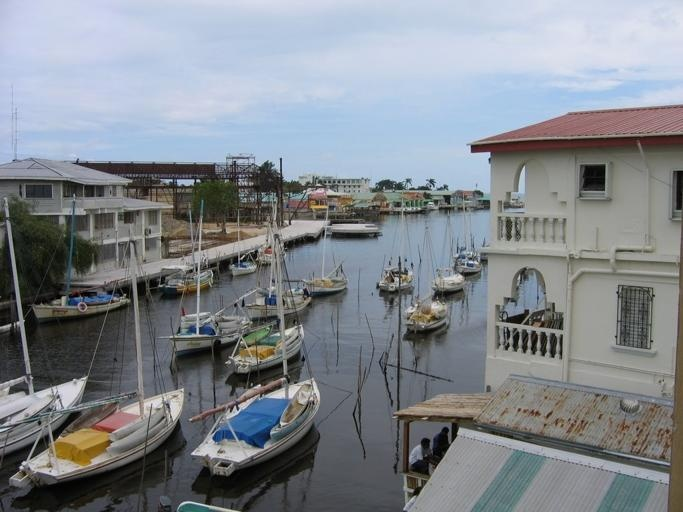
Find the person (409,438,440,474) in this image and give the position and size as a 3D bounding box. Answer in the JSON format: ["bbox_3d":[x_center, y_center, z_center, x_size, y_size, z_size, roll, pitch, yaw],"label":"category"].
[{"bbox_3d":[2.378,5.956,20.424,0.872,1.350,0.572,-2,1,31],"label":"person"}]
